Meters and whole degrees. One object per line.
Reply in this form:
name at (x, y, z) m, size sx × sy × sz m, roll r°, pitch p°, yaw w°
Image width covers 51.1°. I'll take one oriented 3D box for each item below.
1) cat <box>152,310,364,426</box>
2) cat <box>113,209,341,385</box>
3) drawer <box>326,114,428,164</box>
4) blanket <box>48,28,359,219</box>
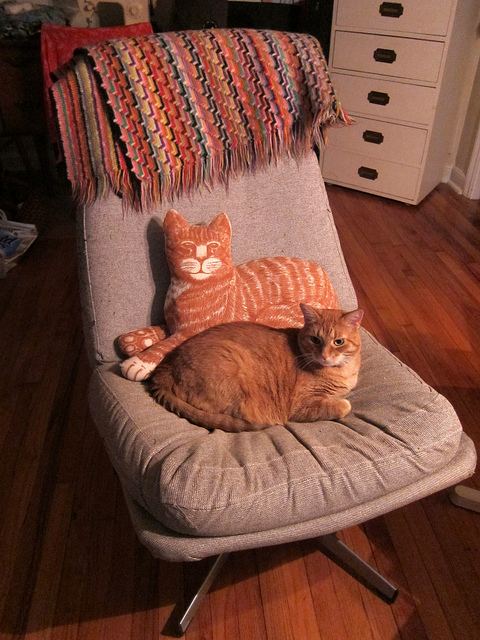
cat at (0.031, 0.089, 1.089) m, size 0.447 × 0.198 × 0.288 m, roll -10°, pitch 34°, yaw -11°
cat at (-0.029, -0.069, 1.242) m, size 0.618 × 0.363 × 0.298 m, roll -11°, pitch 15°, yaw -32°
drawer at (0.773, -0.979, 2.719) m, size 0.560 × 0.202 × 0.413 m, roll 16°, pitch 33°, yaw 5°
blanket at (-0.122, -0.497, 1.294) m, size 0.709 × 0.442 × 0.189 m, roll -13°, pitch 1°, yaw -26°
